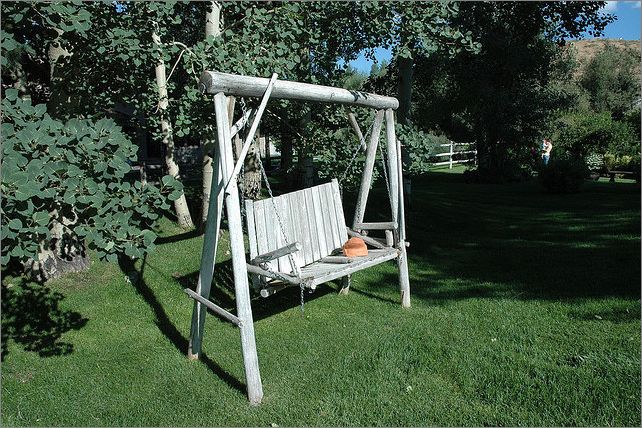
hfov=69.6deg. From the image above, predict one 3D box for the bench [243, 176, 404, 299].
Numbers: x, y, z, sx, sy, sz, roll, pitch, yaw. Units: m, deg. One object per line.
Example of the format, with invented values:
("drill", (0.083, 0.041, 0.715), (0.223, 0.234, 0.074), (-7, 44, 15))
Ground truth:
("bench", (0.099, 0.597, 7.195), (1.227, 1.906, 2.629), (4, 11, 32))
